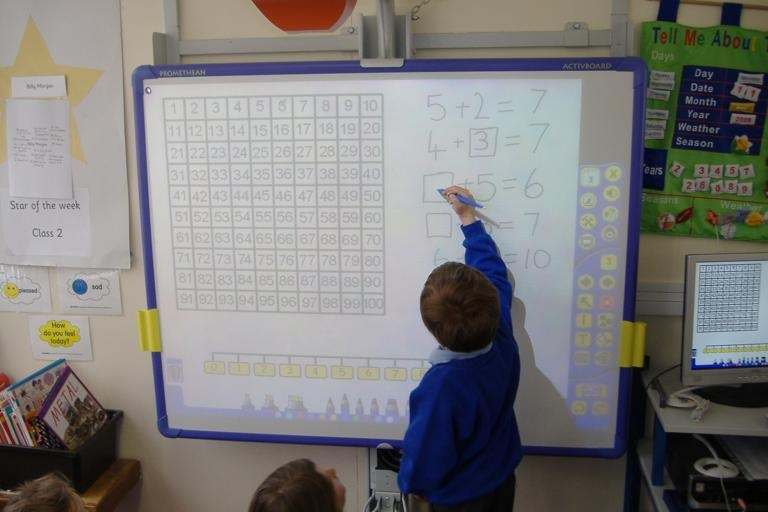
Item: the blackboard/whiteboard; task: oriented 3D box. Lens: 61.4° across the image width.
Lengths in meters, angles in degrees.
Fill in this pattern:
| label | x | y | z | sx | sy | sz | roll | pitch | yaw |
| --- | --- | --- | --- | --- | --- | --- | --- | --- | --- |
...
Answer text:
| label | x | y | z | sx | sy | sz | roll | pitch | yaw |
| --- | --- | --- | --- | --- | --- | --- | --- | --- | --- |
| blackboard/whiteboard | 0.085 | -0.047 | 2.710 | 1.673 | 1.287 | 0.077 | 0 | 4 | 6 |
